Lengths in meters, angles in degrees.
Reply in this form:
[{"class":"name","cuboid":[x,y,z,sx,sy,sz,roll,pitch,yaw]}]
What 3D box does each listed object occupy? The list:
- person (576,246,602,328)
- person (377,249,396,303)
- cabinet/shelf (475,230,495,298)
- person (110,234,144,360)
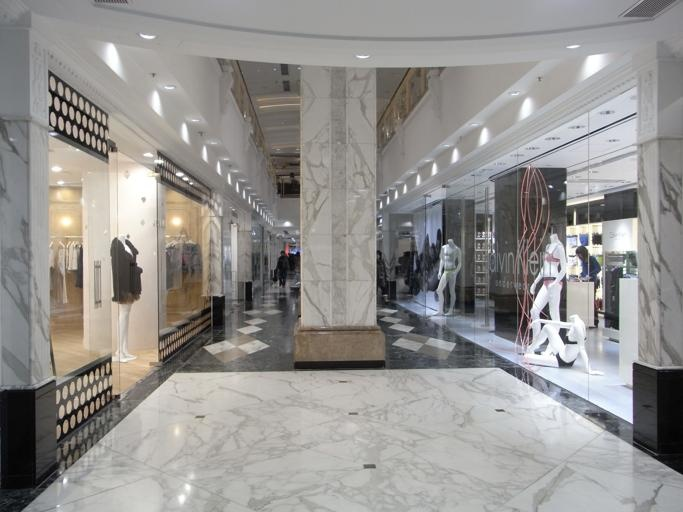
[{"class":"person","cuboid":[3.144,0.354,5.543,0.136,0.964,0.545,0,3,10]},{"class":"person","cuboid":[1.603,0.745,15.847,0.514,1.815,1.115,-1,3,-27]},{"class":"cabinet/shelf","cuboid":[2.877,0.180,8.655,0.418,1.592,0.305,3,8,43]},{"class":"person","cuboid":[-3.468,0.711,6.999,0.343,2.094,0.875,0,2,-7]}]
